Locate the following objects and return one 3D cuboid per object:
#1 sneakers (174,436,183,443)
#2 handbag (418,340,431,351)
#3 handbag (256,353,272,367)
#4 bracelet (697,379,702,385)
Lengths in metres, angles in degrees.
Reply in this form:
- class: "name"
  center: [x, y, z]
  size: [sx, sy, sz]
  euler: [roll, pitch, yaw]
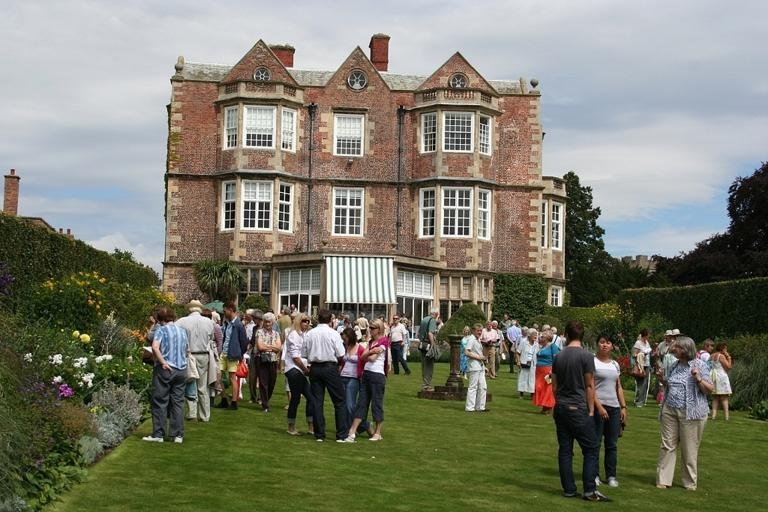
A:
- class: "sneakers"
  center: [-3.899, 3.484, 16.595]
  size: [0.132, 0.083, 0.123]
  euler: [4, -7, -39]
- class: "handbag"
  center: [1.160, 2.740, 26.457]
  size: [0.265, 0.237, 0.449]
  euler: [18, 2, 12]
- class: "handbag"
  center: [-2.842, 2.447, 20.513]
  size: [0.477, 0.316, 0.268]
  euler: [-1, -20, 7]
- class: "bracelet"
  center: [5.627, 2.257, 15.664]
  size: [0.057, 0.062, 0.071]
  euler: [-33, 21, -14]
